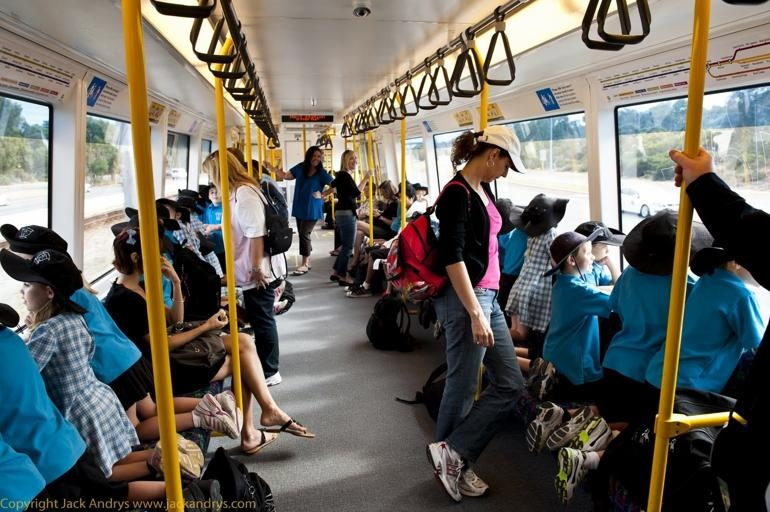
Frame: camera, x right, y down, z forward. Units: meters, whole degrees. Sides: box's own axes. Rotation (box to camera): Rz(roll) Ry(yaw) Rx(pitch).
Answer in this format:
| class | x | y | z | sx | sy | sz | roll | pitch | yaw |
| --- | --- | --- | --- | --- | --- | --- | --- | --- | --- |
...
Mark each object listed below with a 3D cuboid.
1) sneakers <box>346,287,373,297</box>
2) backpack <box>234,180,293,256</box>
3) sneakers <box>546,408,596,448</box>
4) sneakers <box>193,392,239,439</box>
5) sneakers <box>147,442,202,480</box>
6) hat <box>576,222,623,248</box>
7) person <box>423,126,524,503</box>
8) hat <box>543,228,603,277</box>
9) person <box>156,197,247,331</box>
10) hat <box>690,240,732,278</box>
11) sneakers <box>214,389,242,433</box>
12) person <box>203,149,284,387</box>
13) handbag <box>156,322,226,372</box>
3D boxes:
| class | x | y | z | sx | sy | sz | roll | pitch | yaw |
| --- | --- | --- | --- | --- | --- | --- | --- | --- | --- |
| sneakers | -0.438 | 0.589 | 8.091 | 0.412 | 0.182 | 0.163 | 4 | -2 | -20 |
| backpack | -1.174 | -0.392 | 4.996 | 0.386 | 0.713 | 0.474 | -1 | 6 | 6 |
| sneakers | 1.243 | 1.177 | 3.296 | 0.300 | 0.110 | 0.106 | -39 | 29 | -9 |
| sneakers | -1.201 | 1.133 | 3.545 | 0.379 | 0.224 | 0.184 | 18 | 15 | 4 |
| sneakers | -1.281 | 1.263 | 3.037 | 0.319 | 0.133 | 0.228 | 22 | 20 | -44 |
| hat | 1.855 | -0.177 | 4.290 | 0.387 | 0.129 | 0.271 | 11 | 38 | 22 |
| person | 0.624 | 0.415 | 3.395 | 0.637 | 2.578 | 0.787 | 7 | 16 | 31 |
| hat | 1.482 | -0.120 | 3.903 | 0.411 | 0.151 | 0.353 | -44 | -10 | -3 |
| person | -1.739 | 0.068 | 4.627 | 0.632 | 1.207 | 0.538 | 1 | 18 | 30 |
| hat | 1.951 | 0.021 | 2.931 | 0.258 | 0.212 | 0.102 | -25 | 10 | 42 |
| sneakers | -1.144 | 1.155 | 3.592 | 0.152 | 0.394 | 0.129 | 1 | 17 | -45 |
| person | -1.416 | 0.113 | 4.901 | 0.740 | 2.391 | 0.846 | -5 | 4 | -26 |
| handbag | -1.529 | 0.705 | 3.843 | 0.391 | 0.152 | 0.329 | 8 | 14 | 25 |
